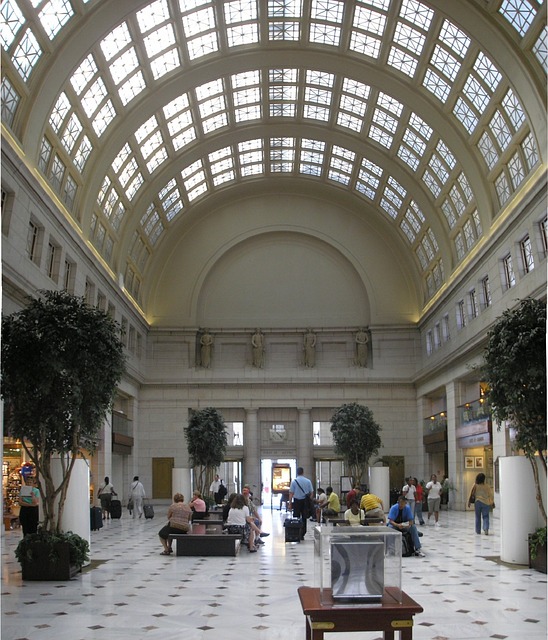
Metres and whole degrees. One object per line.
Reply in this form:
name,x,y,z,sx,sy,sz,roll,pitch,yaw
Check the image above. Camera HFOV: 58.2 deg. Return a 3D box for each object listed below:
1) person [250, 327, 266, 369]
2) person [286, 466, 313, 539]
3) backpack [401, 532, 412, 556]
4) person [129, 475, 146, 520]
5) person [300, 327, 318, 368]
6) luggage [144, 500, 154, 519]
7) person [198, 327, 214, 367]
person,-1.396,2.394,40.249,1.070,3.173,0.488,1,-14,-2
person,1.029,6.481,17.892,0.646,2.709,0.624,3,14,9
backpack,3.619,6.099,13.433,0.425,0.547,0.176,14,-20,-40
person,-7.450,9.660,27.052,0.698,2.376,0.623,2,5,-8
person,2.793,2.395,40.229,1.179,3.125,0.528,0,-14,0
luggage,-6.863,10.533,27.133,0.534,0.734,0.938,6,-18,-18
person,-5.496,2.449,40.364,1.196,3.114,0.507,3,-14,-10
